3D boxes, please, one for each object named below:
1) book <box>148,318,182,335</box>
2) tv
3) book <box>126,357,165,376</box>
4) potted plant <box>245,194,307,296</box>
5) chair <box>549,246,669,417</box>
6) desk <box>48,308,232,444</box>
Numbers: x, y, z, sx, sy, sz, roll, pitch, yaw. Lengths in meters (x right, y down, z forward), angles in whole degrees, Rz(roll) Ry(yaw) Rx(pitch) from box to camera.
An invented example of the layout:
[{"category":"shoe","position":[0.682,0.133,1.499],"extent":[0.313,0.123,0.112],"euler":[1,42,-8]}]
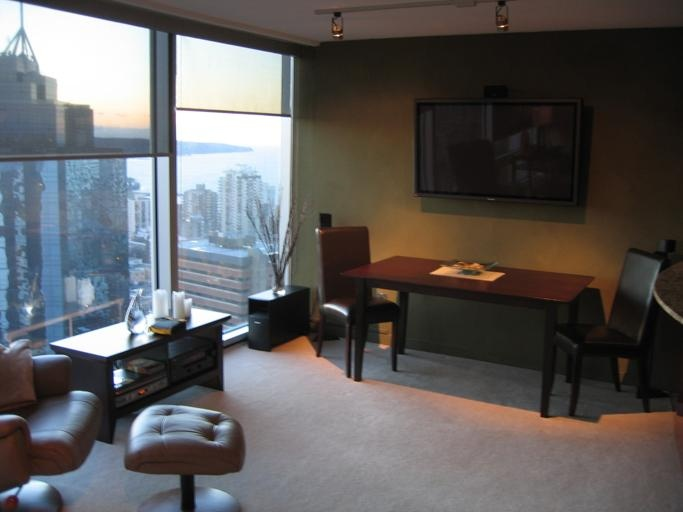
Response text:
[{"category":"book","position":[-1.352,0.539,4.277],"extent":[0.142,0.048,0.142],"euler":[5,13,14]},{"category":"tv","position":[1.372,-0.951,5.072],"extent":[1.449,0.895,0.086],"euler":[6,12,22]},{"category":"book","position":[-1.464,0.835,4.204],"extent":[0.174,0.042,0.123],"euler":[6,11,30]},{"category":"potted plant","position":[-0.664,-0.107,5.969],"extent":[0.516,0.968,0.699],"euler":[6,13,26]},{"category":"chair","position":[2.095,0.585,4.528],"extent":[0.738,1.229,0.716],"euler":[2,6,10]},{"category":"desk","position":[-1.544,0.870,4.482],"extent":[0.630,0.662,1.371],"euler":[8,10,24]}]
